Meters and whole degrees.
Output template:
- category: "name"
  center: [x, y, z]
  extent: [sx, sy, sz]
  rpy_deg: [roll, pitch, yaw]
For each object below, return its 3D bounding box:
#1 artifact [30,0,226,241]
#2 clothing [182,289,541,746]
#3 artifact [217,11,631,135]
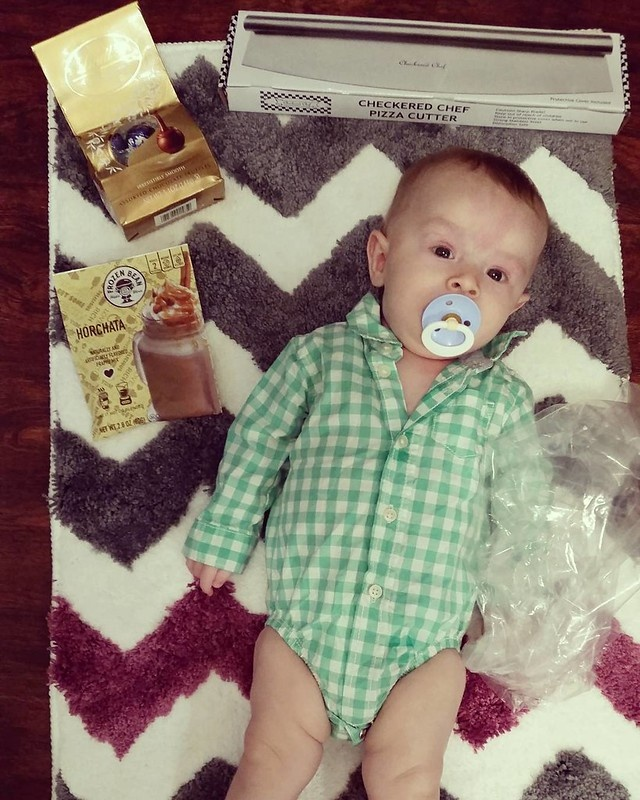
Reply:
- category: "artifact"
  center: [-0.274, -0.400, 1.132]
  extent: [0.170, 0.221, 0.249]
  rpy_deg: [-22, 73, -1]
- category: "clothing"
  center: [0.075, 0.133, 1.129]
  extent: [0.545, 0.181, 0.563]
  rpy_deg: [15, 79, 9]
- category: "artifact"
  center: [0.172, -0.495, 1.231]
  extent: [0.857, 0.124, 0.186]
  rpy_deg: [2, 88, 0]
